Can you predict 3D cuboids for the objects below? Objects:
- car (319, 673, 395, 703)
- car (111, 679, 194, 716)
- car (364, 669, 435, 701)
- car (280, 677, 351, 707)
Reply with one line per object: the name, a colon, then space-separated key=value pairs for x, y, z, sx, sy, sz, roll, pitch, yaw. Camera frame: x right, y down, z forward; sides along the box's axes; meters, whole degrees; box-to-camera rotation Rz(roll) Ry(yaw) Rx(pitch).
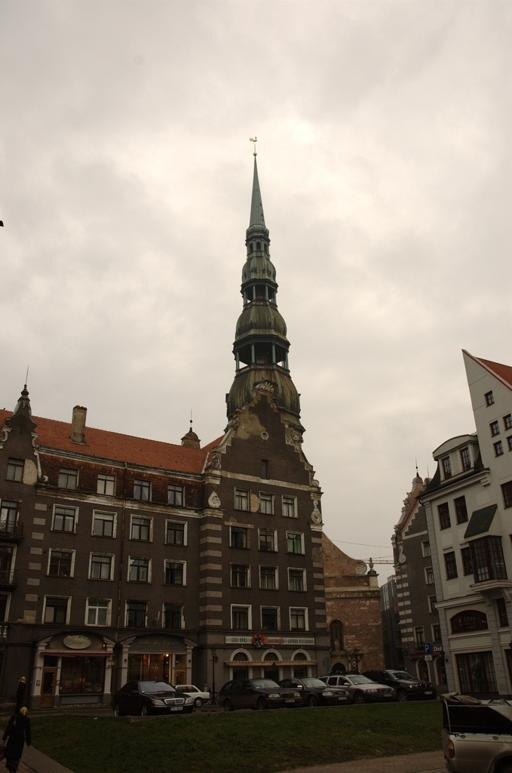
car: x=4.810 y=15.531 z=32.359 sx=1.610 sy=1.175 sz=3.464 roll=14 pitch=-33 yaw=-29
car: x=-4.832 y=14.158 z=28.205 sx=1.684 sy=1.279 sz=3.853 roll=16 pitch=-33 yaw=-30
car: x=8.116 y=17.481 z=36.002 sx=2.042 sy=1.644 sz=4.492 roll=11 pitch=-29 yaw=-24
car: x=2.685 y=15.059 z=30.808 sx=1.219 sy=0.846 sz=2.639 roll=15 pitch=-32 yaw=-31
